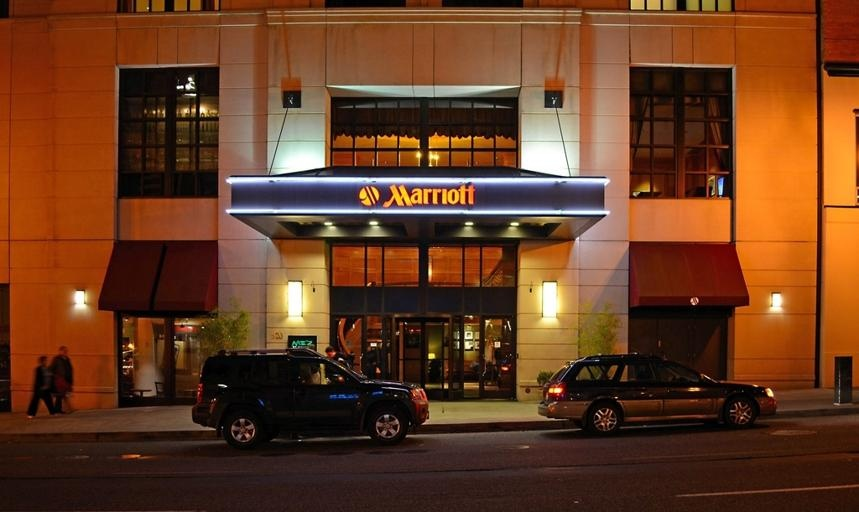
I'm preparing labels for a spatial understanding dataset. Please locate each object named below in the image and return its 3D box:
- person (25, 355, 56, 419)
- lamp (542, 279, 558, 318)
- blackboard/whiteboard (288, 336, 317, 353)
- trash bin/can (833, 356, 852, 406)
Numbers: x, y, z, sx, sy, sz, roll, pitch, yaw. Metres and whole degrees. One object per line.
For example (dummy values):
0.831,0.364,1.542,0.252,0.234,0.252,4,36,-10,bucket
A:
-15.650,5.480,57.914,1.044,2.517,1.445,1,-5,-15,person
5.007,1.938,59.389,0.692,1.521,0.217,1,-4,-11,lamp
-5.076,3.687,57.407,0.897,0.118,0.588,-1,39,-2,blackboard/whiteboard
16.228,5.041,56.127,0.674,1.896,0.306,1,-4,-5,trash bin/can
